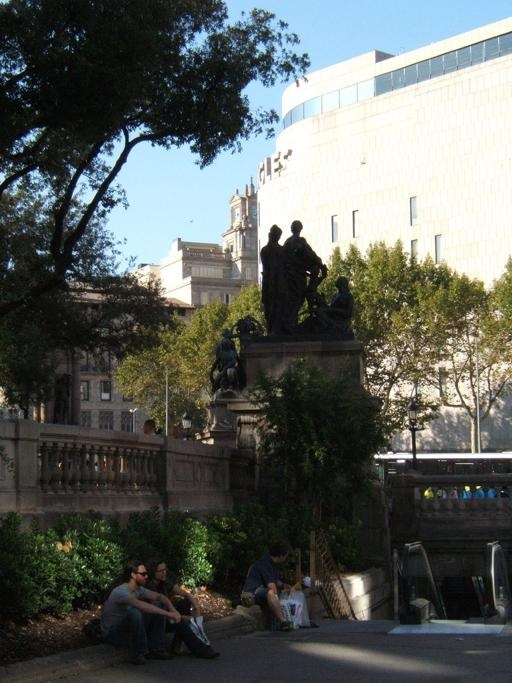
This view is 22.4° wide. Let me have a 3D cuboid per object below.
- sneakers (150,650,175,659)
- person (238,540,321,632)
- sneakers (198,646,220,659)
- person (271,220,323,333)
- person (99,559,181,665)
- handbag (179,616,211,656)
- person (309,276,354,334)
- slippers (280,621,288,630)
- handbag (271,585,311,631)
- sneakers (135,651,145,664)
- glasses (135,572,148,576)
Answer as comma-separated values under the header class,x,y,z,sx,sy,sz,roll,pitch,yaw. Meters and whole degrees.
class,x,y,z,sx,sy,sz,roll,pitch,yaw
sneakers,-0.922,3.095,12.800,0.235,0.115,0.084,-1,2,2
person,0.382,3.008,15.966,0.910,1.061,0.944,11,-11,-42
sneakers,-0.482,3.089,12.917,0.265,0.127,0.091,-4,-3,37
person,0.792,-1.027,25.071,0.910,1.892,0.502,-1,-6,-2
person,-1.150,2.687,12.869,0.649,0.981,0.539,-3,-5,2
handbag,-0.631,2.990,13.134,0.258,0.135,0.376,-33,24,-3
person,1.493,-0.656,25.006,0.810,1.284,0.830,3,-13,13
slippers,0.353,3.364,15.325,0.112,0.102,0.114,-1,-7,0
handbag,0.444,3.306,16.046,0.431,0.470,0.344,2,9,32
sneakers,-1.107,3.028,12.448,0.079,0.148,0.078,1,-3,2
glasses,-1.175,2.363,13.166,0.105,0.036,0.108,-4,-11,8
